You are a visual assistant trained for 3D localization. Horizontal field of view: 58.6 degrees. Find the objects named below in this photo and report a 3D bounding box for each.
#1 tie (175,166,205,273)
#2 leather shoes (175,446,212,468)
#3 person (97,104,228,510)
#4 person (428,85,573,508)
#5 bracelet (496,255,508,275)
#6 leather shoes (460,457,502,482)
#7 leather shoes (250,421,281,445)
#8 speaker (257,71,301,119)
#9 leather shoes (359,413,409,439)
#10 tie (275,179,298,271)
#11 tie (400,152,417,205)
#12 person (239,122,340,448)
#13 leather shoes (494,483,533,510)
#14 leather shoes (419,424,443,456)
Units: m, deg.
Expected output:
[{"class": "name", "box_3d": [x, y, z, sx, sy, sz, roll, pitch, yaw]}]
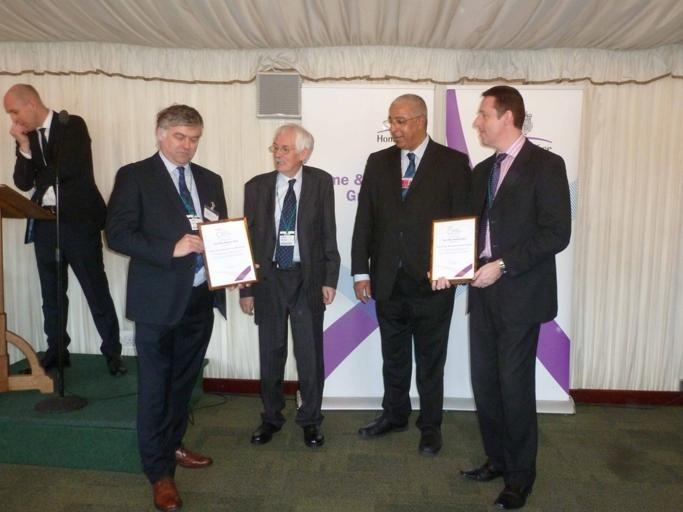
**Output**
[{"class": "tie", "box_3d": [-0.926, -0.196, 3.677, 0.069, 0.664, 0.066, -17, -4, 20]}, {"class": "leather shoes", "box_3d": [-0.988, 1.331, 4.062, 0.274, 0.135, 0.103, 1, 11, -7]}, {"class": "person", "box_3d": [-1.005, 0.300, 3.696, 0.685, 2.338, 0.578, -8, 16, -31]}, {"class": "person", "box_3d": [1.007, 0.242, 3.730, 0.637, 2.456, 0.620, 8, 16, 29]}, {"class": "bracelet", "box_3d": [0.951, 0.058, 3.633, 0.047, 0.086, 0.082, -8, 15, 0]}, {"class": "leather shoes", "box_3d": [0.910, 1.399, 4.006, 0.306, 0.151, 0.111, 3, -1, -1]}, {"class": "leather shoes", "box_3d": [-0.545, 1.249, 4.351, 0.092, 0.107, 0.231, 3, 2, 28]}, {"class": "speaker", "box_3d": [-0.499, -1.282, 4.828, 0.296, 0.318, 0.117, 2, 3, 0]}, {"class": "leather shoes", "box_3d": [0.289, 1.234, 4.516, 0.365, 0.260, 0.141, 1, 0, -12]}, {"class": "tie", "box_3d": [-0.392, -0.187, 4.285, 0.177, 0.074, 0.929, 2, 50, -4]}, {"class": "tie", "box_3d": [0.461, -0.543, 4.193, 0.063, 0.407, 0.055, 9, -28, 7]}, {"class": "person", "box_3d": [-0.332, 0.203, 4.267, 0.656, 2.150, 0.591, -2, 14, -10]}, {"class": "leather shoes", "box_3d": [1.063, 1.464, 3.723, 0.264, 0.119, 0.112, -4, 15, -16]}, {"class": "leather shoes", "box_3d": [0.614, 1.274, 4.215, 0.142, 0.144, 0.353, -1, -3, 7]}]
